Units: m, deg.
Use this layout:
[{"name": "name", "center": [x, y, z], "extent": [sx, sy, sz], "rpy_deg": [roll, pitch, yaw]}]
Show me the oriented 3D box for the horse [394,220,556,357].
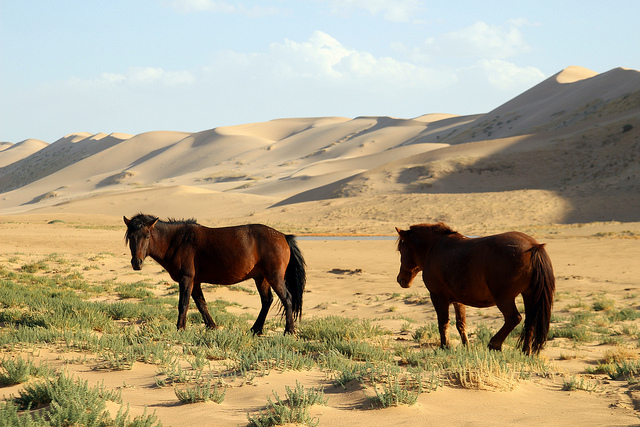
[{"name": "horse", "center": [4.342, 2.232, 22.109], "extent": [1.926, 3.681, 5.800], "rpy_deg": [5, -6, -36]}]
